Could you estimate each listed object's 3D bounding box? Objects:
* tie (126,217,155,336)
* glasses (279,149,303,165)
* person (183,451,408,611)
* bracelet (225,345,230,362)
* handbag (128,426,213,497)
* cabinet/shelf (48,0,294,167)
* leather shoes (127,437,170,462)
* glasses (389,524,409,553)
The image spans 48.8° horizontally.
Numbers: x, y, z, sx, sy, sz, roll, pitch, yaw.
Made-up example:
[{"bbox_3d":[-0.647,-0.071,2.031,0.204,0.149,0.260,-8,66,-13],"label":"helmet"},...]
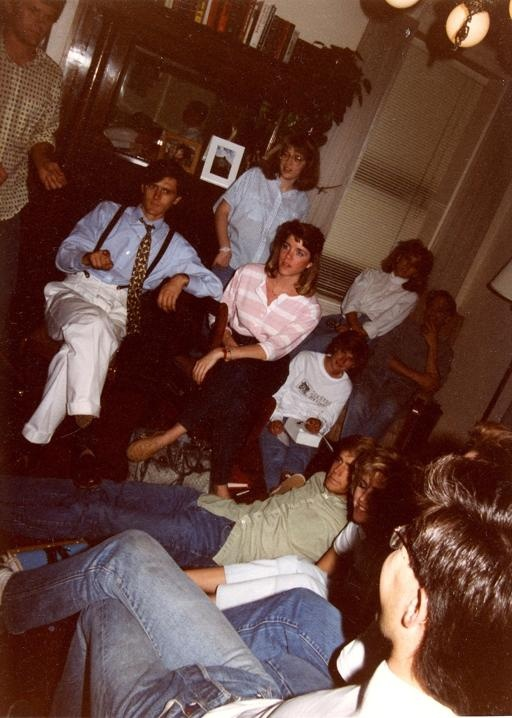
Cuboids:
[{"bbox_3d":[-0.545,-0.383,2.621,0.095,0.535,0.073,7,-8,0],"label":"tie"},{"bbox_3d":[0.198,-1.079,3.036,0.117,0.085,0.059,25,20,-8],"label":"glasses"},{"bbox_3d":[0.156,0.540,1.879,0.768,0.427,0.330,-12,57,-11],"label":"person"},{"bbox_3d":[-0.130,-0.025,2.489,0.020,0.048,0.036,7,-10,-10],"label":"bracelet"},{"bbox_3d":[-0.360,0.469,2.509,0.283,0.287,0.117,48,-16,-1],"label":"handbag"},{"bbox_3d":[-0.505,-1.558,3.152,1.097,0.889,0.373,17,30,-25],"label":"cabinet/shelf"},{"bbox_3d":[-0.456,0.367,2.371,0.059,0.177,0.087,-75,142,-80],"label":"leather shoes"},{"bbox_3d":[0.207,0.269,0.843,0.016,0.039,0.031,13,17,10],"label":"glasses"}]
